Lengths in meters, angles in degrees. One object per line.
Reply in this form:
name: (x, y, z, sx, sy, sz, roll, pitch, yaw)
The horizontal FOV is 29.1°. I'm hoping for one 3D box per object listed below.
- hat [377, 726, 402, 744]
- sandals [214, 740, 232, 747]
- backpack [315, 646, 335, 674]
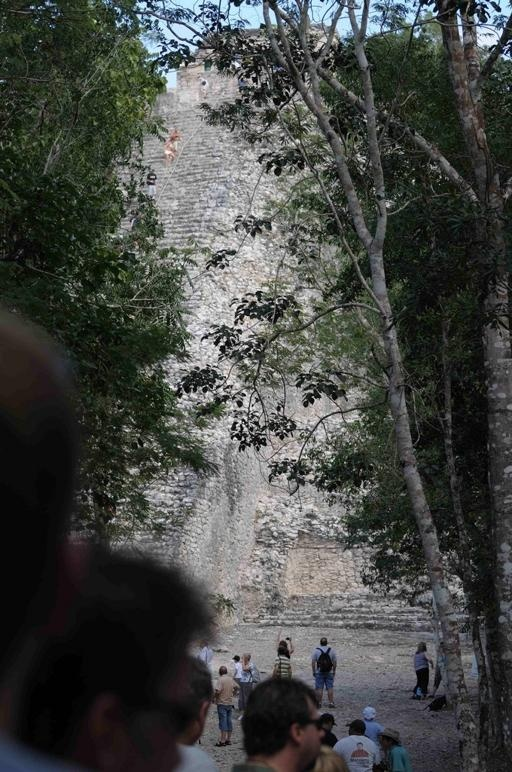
hat: (1.099, 2.790, 7.929, 0.200, 0.087, 0.221, 10, -36, 13)
sandals: (-0.382, 4.302, 11.898, 0.193, 0.091, 0.313, 3, -10, -1)
backpack: (1.008, 3.964, 14.168, 0.244, 0.401, 0.351, 2, -11, 5)
